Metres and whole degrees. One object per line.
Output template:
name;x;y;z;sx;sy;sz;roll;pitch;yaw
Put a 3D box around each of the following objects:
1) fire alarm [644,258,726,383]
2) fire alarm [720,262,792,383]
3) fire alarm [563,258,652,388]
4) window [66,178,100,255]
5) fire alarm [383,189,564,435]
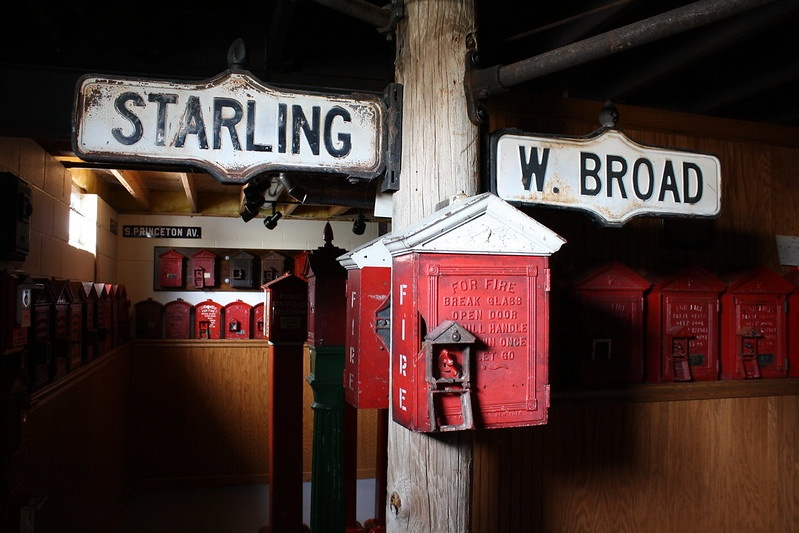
fire alarm;1.996;0.349;5.429;0.472;0.834;0.311;-3;18;6
fire alarm;2.493;0.402;5.428;0.542;0.779;0.120;3;-6;-11
fire alarm;1.383;0.394;5.184;0.547;0.840;0.167;2;-6;-9
window;-2.953;-0.462;7.224;0.208;0.656;0.670;2;4;10
fire alarm;0.391;0.250;4.219;0.952;1.262;0.321;2;-6;-7
